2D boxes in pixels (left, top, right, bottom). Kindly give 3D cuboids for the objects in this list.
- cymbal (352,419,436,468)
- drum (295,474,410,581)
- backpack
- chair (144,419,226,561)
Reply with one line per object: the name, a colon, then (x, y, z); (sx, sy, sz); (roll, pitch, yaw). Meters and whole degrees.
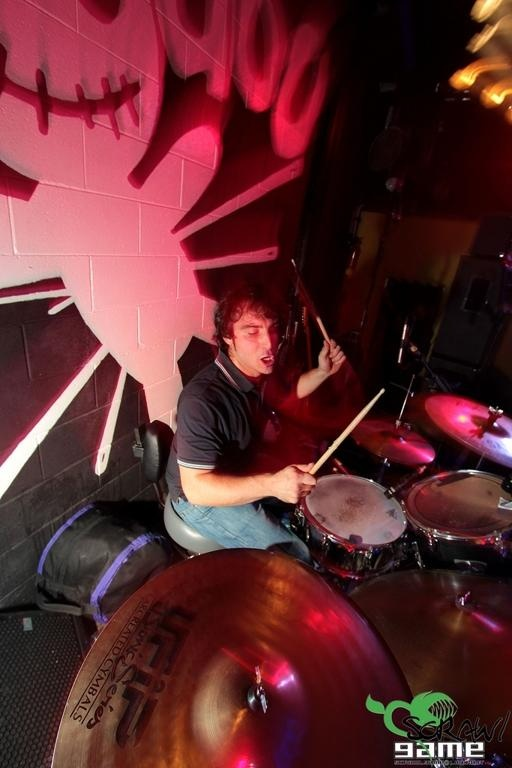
cymbal: (0.729, 0.272, 2.632); (0.489, 0.098, 0.486); (19, 15, 7)
drum: (0.369, 0.551, 1.959); (0.414, 0.165, 0.396); (8, 30, -5)
backpack: (-0.517, 0.614, 1.904); (0.374, 0.278, 0.508); (16, 28, 28)
chair: (-0.277, 0.362, 2.049); (0.404, 0.395, 0.290); (3, 14, 8)
